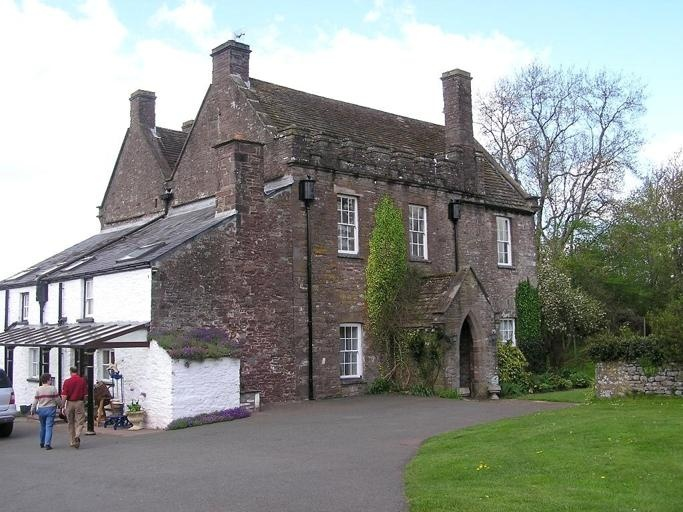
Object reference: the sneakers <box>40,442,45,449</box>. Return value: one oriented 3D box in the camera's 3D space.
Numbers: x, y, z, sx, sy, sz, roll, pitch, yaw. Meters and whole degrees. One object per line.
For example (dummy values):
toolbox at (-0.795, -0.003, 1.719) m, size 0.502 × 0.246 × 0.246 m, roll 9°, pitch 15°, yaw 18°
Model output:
sneakers at (-7.389, 4.644, 18.158) m, size 0.071 × 0.158 × 0.274 m, roll -1°, pitch 6°, yaw -36°

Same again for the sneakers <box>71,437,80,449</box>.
sneakers at (-6.487, 4.529, 17.973) m, size 0.185 × 0.291 × 0.278 m, roll 1°, pitch 5°, yaw -24°

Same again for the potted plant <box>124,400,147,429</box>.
potted plant at (-5.891, 4.567, 21.120) m, size 0.624 × 0.798 × 0.660 m, roll 0°, pitch -1°, yaw -19°

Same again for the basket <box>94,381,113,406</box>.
basket at (-7.148, 4.101, 22.045) m, size 0.499 × 0.772 × 0.701 m, roll 1°, pitch 5°, yaw -19°

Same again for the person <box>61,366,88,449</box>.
person at (-6.664, 3.769, 18.322) m, size 0.552 × 1.959 × 1.130 m, roll 1°, pitch 5°, yaw -21°
